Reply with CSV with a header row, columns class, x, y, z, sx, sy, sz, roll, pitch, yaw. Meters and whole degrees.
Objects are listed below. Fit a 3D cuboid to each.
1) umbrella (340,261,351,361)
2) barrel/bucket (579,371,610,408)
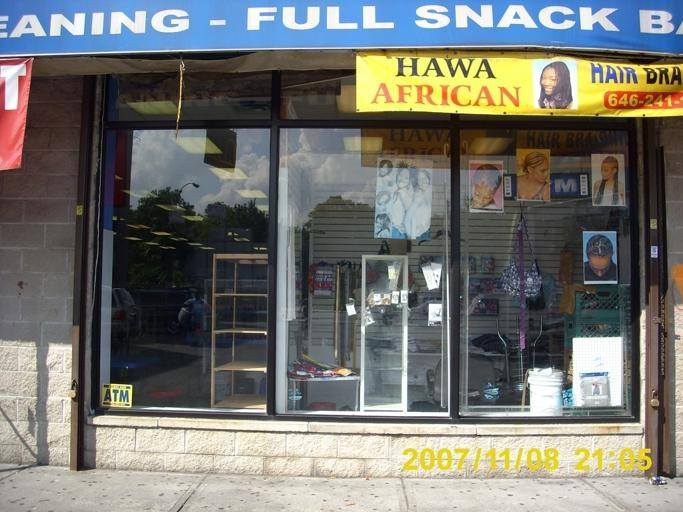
class,x,y,z,sx,sy,sz,roll,pitch,yaw
umbrella,0.057,0.664,9.823,0.162,1.198,0.104,0,-7,-3
barrel/bucket,2.834,1.490,9.605,0.381,0.344,0.368,-1,-1,0
